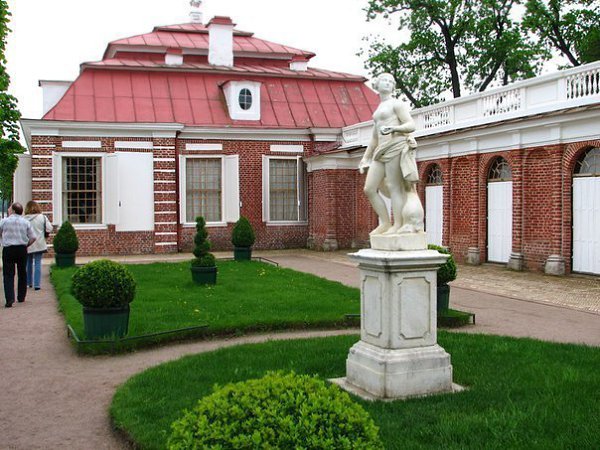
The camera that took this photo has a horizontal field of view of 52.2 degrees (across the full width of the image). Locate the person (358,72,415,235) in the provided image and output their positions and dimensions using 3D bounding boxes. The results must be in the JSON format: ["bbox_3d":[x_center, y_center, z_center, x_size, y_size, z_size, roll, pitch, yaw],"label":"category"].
[{"bbox_3d":[1.235,-0.809,8.519,0.806,1.837,0.575,4,8,21],"label":"person"}]

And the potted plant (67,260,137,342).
[{"bbox_3d":[-3.294,1.298,10.817,1.259,1.483,1.182,1,-4,-12],"label":"potted plant"}]

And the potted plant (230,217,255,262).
[{"bbox_3d":[-1.941,0.417,20.923,0.756,1.522,0.735,0,7,-8],"label":"potted plant"}]

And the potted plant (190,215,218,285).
[{"bbox_3d":[-2.431,0.613,15.545,0.637,1.649,1.034,0,7,-10],"label":"potted plant"}]

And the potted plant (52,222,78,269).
[{"bbox_3d":[-7.067,0.591,18.539,0.656,1.437,0.857,-2,8,-23],"label":"potted plant"}]
